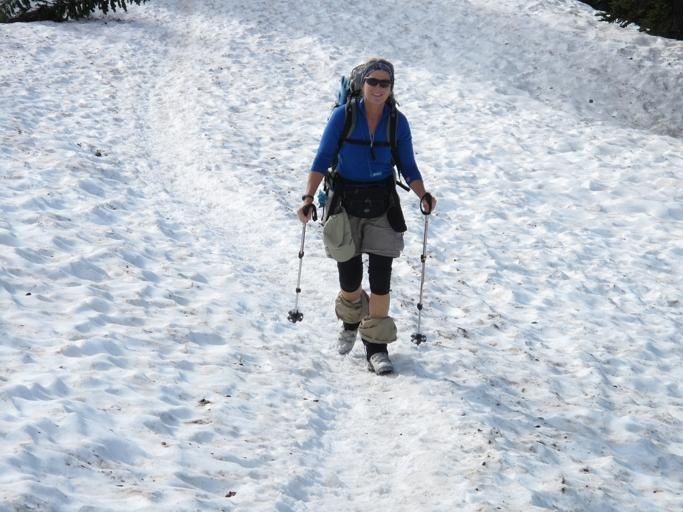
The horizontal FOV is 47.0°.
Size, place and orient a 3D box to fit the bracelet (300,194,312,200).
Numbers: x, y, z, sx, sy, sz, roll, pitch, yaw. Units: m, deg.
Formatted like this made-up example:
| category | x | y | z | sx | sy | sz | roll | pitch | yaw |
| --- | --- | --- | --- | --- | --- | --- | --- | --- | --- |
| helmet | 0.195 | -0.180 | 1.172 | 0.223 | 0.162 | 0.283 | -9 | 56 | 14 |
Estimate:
| category | x | y | z | sx | sy | sz | roll | pitch | yaw |
| --- | --- | --- | --- | --- | --- | --- | --- | --- | --- |
| bracelet | -0.427 | -0.695 | 9.310 | 0.134 | 0.044 | 0.092 | 10 | 13 | 33 |

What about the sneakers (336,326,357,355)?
| category | x | y | z | sx | sy | sz | roll | pitch | yaw |
| --- | --- | --- | --- | --- | --- | --- | --- | --- | --- |
| sneakers | 0.062 | 1.064 | 9.867 | 0.252 | 0.144 | 0.407 | 2 | 49 | 13 |

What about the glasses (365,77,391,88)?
| category | x | y | z | sx | sy | sz | roll | pitch | yaw |
| --- | --- | --- | --- | --- | --- | --- | --- | --- | --- |
| glasses | 0.427 | -1.996 | 9.096 | 0.296 | 0.120 | 0.087 | -1 | 46 | 1 |

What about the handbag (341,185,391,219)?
| category | x | y | z | sx | sy | sz | roll | pitch | yaw |
| --- | --- | --- | --- | --- | --- | --- | --- | --- | --- |
| handbag | 0.293 | -0.653 | 9.340 | 0.585 | 0.332 | 0.318 | -1 | 44 | 1 |
